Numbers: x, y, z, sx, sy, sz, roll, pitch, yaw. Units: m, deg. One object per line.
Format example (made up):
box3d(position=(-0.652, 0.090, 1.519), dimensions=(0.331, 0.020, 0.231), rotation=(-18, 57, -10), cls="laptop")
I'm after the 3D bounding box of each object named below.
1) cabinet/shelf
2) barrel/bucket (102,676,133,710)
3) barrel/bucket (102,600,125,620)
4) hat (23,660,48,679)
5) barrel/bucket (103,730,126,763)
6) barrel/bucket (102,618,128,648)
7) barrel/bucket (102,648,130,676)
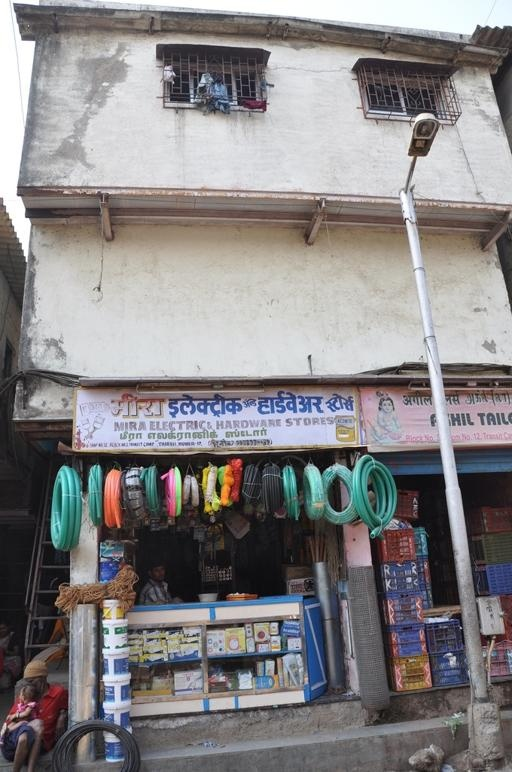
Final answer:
box3d(position=(-0.403, 2.833, 6.786), dimensions=(1.881, 1.044, 0.708), rotation=(-8, -15, 9), cls="cabinet/shelf")
box3d(position=(-1.273, 2.779, 5.875), dimensions=(0.258, 0.305, 0.274), rotation=(-1, -17, 0), cls="barrel/bucket")
box3d(position=(-1.360, 2.119, 6.101), dimensions=(0.165, 0.138, 0.175), rotation=(-2, -17, -1), cls="barrel/bucket")
box3d(position=(-2.072, 2.633, 6.035), dimensions=(0.154, 0.179, 0.213), rotation=(4, -9, -16), cls="hat")
box3d(position=(-1.274, 3.188, 5.725), dimensions=(0.225, 0.267, 0.235), rotation=(-3, -16, -1), cls="barrel/bucket")
box3d(position=(-1.308, 2.296, 5.992), dimensions=(0.233, 0.268, 0.248), rotation=(-2, -17, -1), cls="barrel/bucket")
box3d(position=(-1.289, 2.533, 5.934), dimensions=(0.216, 0.233, 0.230), rotation=(-1, -13, 0), cls="barrel/bucket")
